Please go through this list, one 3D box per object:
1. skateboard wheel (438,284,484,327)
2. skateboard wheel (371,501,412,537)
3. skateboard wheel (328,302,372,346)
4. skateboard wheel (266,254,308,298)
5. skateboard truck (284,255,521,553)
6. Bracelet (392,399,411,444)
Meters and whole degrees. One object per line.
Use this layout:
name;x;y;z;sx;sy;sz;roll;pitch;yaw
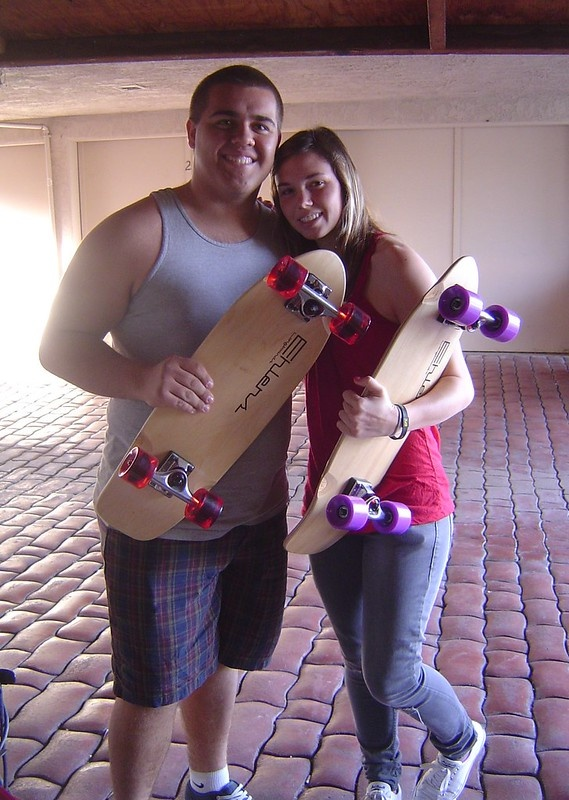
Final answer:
skateboard wheel;0.368;-0.206;1.455;0.038;0.066;0.095;7;11;-42
skateboard wheel;0.225;0.252;1.410;0.039;0.067;0.067;24;-46;-30
skateboard wheel;0.137;-0.167;1.486;0.078;0.086;0.086;31;14;-7
skateboard wheel;-0.002;-0.259;1.426;0.083;0.094;0.122;-5;13;-14
skateboard truck;0.218;-0.008;1.538;0.355;0.890;0.140;36;-6;-34
Bracelet;0.251;0.052;1.433;0.026;0.064;0.055;9;2;-16
